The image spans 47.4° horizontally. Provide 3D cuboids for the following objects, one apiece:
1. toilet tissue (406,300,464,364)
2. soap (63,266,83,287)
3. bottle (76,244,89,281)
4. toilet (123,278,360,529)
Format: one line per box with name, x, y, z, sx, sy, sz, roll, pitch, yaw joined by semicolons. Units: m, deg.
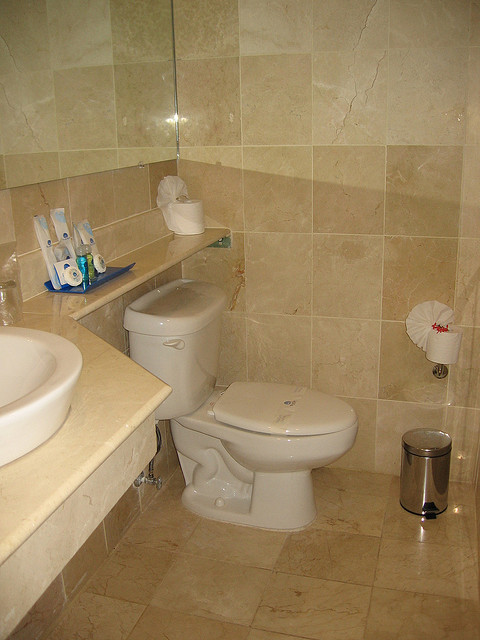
toilet tissue;0.726;0.036;2.055;0.167;0.247;0.151;2;19;5
soap;-0.437;-0.111;1.429;0.042;0.051;0.065;3;14;20
bottle;-0.428;-0.152;1.478;0.030;0.085;0.061;-5;13;-15
toilet;0.064;0.188;2.261;0.926;0.965;0.713;6;25;13
